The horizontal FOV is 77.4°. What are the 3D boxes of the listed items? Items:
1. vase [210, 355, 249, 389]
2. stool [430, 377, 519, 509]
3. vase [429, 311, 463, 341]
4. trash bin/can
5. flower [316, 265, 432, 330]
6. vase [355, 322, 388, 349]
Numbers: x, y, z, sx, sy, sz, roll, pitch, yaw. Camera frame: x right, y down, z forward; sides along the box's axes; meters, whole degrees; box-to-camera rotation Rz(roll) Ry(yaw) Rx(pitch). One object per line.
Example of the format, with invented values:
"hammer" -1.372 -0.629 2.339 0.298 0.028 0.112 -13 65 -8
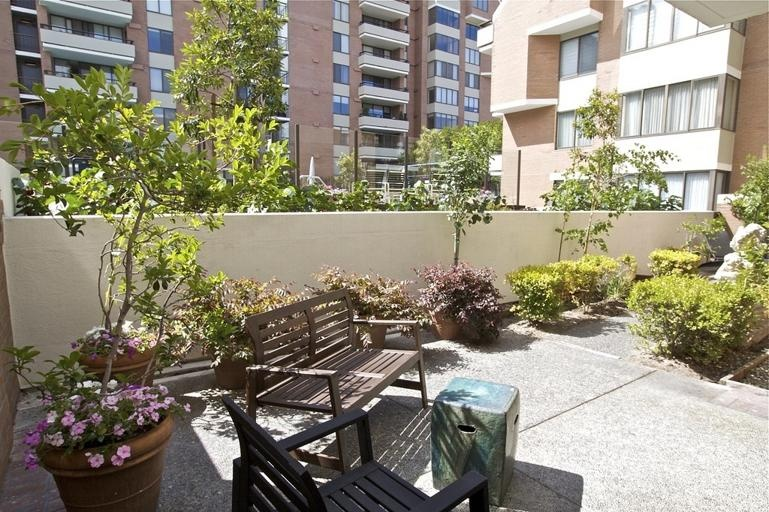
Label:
"vase" -2.091 1.566 6.604 0.547 0.409 0.560 -3 -8 12
"stool" 0.922 1.795 5.141 0.963 1.370 0.995 3 3 28
"vase" 1.053 1.191 8.218 0.487 0.380 0.473 1 4 -3
"trash bin/can" 0.918 1.867 5.185 0.972 1.373 0.992 3 2 28
"flower" -0.188 0.590 7.549 1.231 0.605 1.218 5 12 -11
"vase" -0.209 1.217 7.313 0.426 0.370 0.489 1 3 13
